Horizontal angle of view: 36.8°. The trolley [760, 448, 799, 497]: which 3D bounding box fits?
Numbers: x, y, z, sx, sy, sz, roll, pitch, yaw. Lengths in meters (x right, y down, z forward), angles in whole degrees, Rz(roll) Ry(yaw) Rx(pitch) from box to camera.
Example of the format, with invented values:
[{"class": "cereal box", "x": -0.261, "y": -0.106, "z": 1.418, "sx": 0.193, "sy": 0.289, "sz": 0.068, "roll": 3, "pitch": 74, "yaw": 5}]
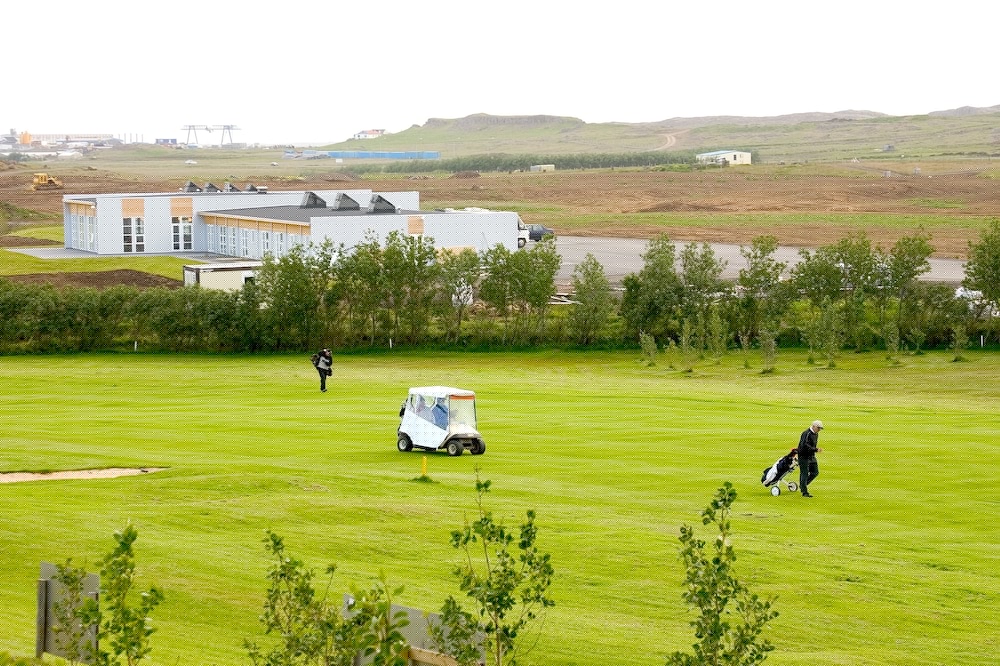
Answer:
[{"class": "trolley", "x": 10.209, "y": 5.005, "z": 55.289, "sx": 1.355, "sy": 1.770, "sz": 1.610, "roll": 1, "pitch": 4, "yaw": 9}]
